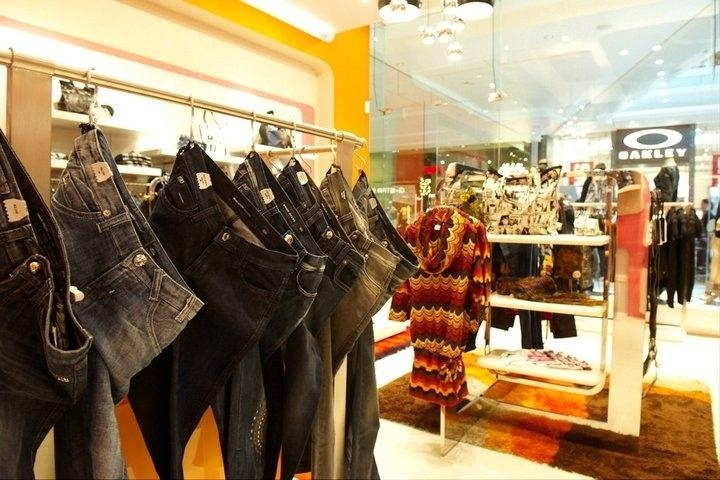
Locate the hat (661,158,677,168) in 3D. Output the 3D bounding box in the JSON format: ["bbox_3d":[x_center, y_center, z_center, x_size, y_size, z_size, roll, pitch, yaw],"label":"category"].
[{"bbox_3d":[3.432,-0.850,5.365,0.134,0.156,0.153,6,19,25],"label":"hat"}]

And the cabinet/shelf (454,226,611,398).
[{"bbox_3d":[1.403,0.543,3.631,0.891,1.260,0.681,3,7,29],"label":"cabinet/shelf"}]
